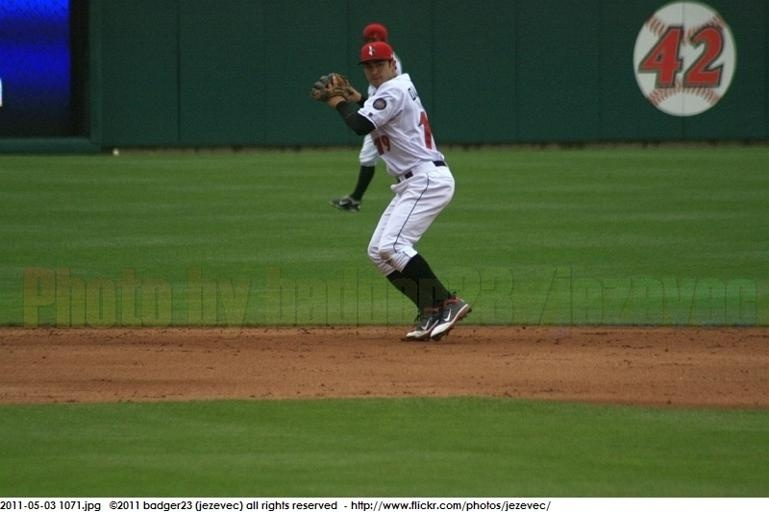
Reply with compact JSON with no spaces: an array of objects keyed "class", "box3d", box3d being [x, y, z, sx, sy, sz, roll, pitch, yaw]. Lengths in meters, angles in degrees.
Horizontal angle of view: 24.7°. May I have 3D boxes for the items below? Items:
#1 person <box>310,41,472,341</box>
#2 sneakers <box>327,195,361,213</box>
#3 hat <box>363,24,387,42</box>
[{"class":"person","box3d":[0.151,-0.673,17.757,1.635,2.948,0.568,5,5,1]},{"class":"sneakers","box3d":[-0.442,-0.622,19.846,0.392,0.168,0.133,9,44,-6]},{"class":"hat","box3d":[-0.103,-2.493,19.558,0.266,0.156,0.331,0,22,4]}]
